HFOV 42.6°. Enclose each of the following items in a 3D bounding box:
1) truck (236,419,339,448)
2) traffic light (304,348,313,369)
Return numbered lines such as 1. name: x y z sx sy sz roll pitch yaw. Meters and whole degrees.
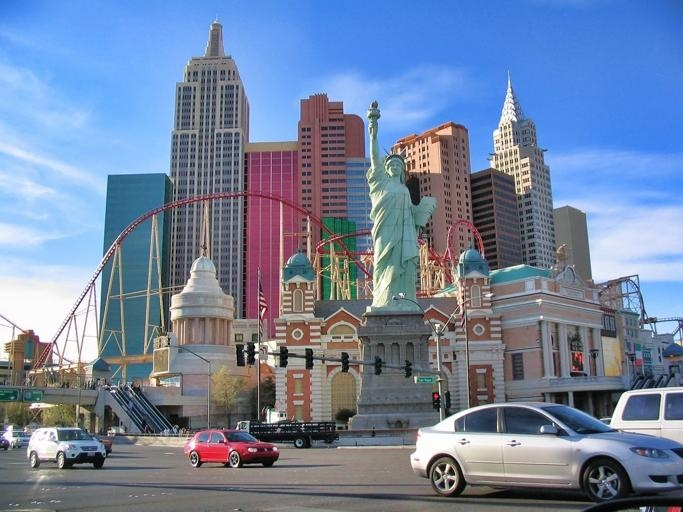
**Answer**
1. truck: -3.893 10.708 53.884 7.194 2.050 2.202 1 -24 4
2. traffic light: -1.810 5.731 49.545 0.414 1.107 1.072 0 -14 -2
